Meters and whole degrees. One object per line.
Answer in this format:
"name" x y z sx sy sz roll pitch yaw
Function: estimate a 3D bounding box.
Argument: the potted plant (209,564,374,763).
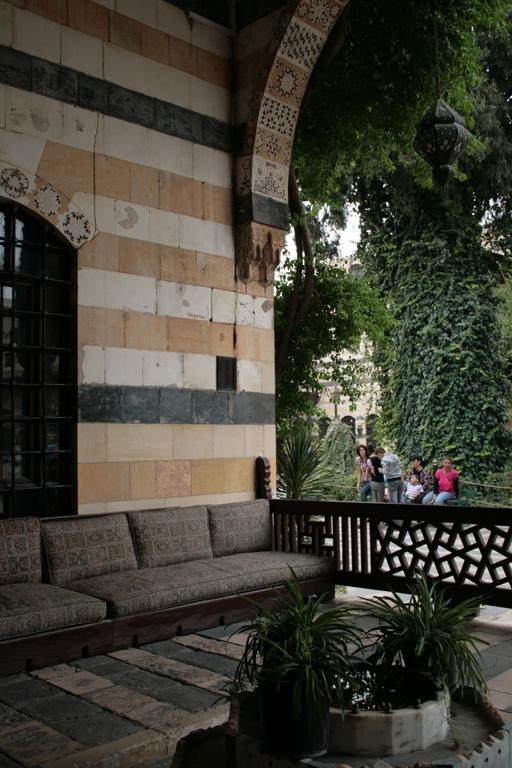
"potted plant" 0.108 0.737 1.844 0.353 0.341 0.474 -1 -1 -2
